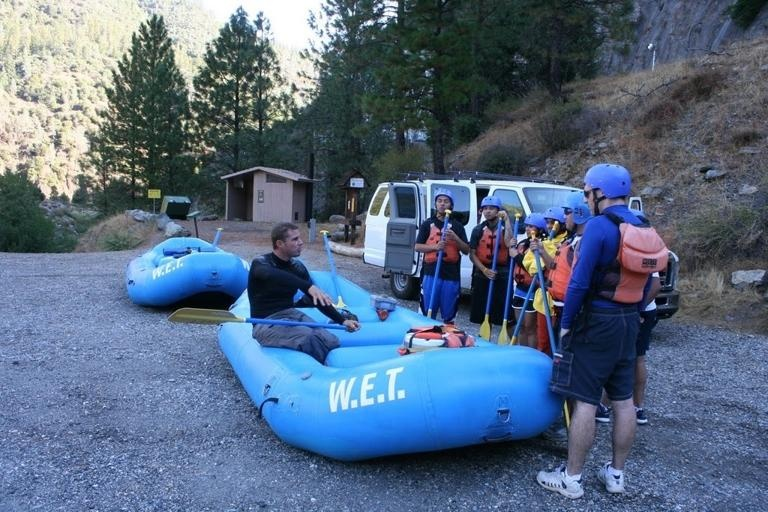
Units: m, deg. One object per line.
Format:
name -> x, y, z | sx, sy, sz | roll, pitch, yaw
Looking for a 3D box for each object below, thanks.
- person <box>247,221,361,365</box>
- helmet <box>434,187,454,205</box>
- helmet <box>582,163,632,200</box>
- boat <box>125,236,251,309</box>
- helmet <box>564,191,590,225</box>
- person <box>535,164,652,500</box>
person -> -1.231, 0.587, 8.747 | 1.254, 2.113, 1.097 | -3, -1, 35
helmet -> 1.021, -0.972, 10.152 | 0.271, 0.211, 0.401 | 8, -24, 21
helmet -> 2.663, -0.849, 7.517 | 0.492, 0.509, 0.587 | -6, 8, -34
boat -> -3.917, 0.373, 12.664 | 1.491, 0.876, 2.478 | 2, 5, -17
helmet -> 2.617, -0.623, 8.436 | 0.379, 0.373, 0.296 | -2, 8, 7
person -> 2.485, 0.871, 7.283 | 0.976, 3.839, 0.610 | 4, 7, 12
